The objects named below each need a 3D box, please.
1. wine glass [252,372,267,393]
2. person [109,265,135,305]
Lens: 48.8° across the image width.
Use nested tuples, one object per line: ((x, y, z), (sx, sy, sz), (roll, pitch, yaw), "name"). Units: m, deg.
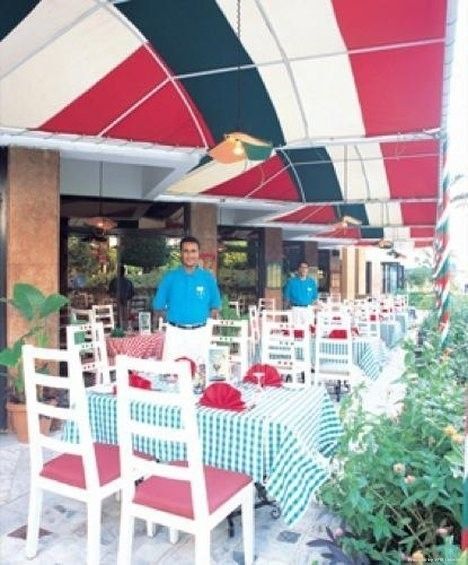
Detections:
((0.170, 0.670, 3.440), (0.087, 0.127, 0.091), (-3, 7, -10), "wine glass")
((-2.139, 0.255, 9.700), (0.519, 1.119, 0.329), (-3, 19, -17), "person")
